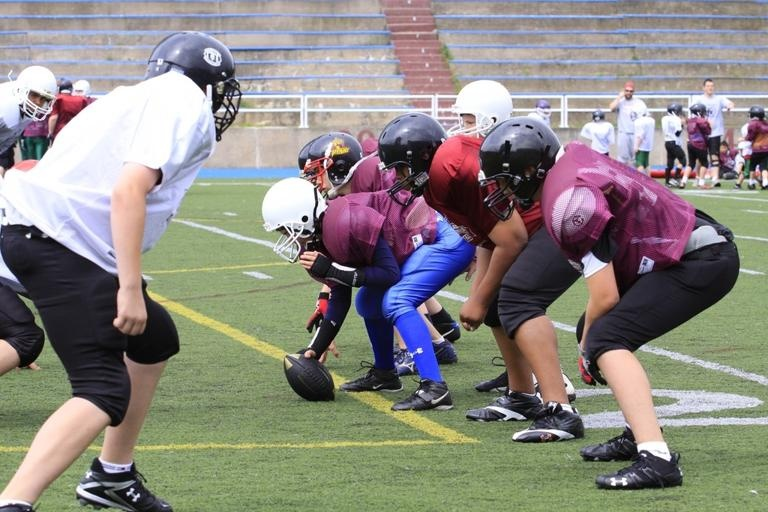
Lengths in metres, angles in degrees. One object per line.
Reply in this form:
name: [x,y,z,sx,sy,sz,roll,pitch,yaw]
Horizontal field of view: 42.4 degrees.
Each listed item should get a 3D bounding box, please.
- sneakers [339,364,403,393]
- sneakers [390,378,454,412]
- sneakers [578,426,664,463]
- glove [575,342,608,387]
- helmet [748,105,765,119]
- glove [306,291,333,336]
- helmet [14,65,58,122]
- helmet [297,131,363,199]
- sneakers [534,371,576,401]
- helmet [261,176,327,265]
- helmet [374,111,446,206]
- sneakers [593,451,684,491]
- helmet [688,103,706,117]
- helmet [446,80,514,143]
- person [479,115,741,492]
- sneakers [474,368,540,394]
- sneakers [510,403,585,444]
sneakers: [-0.071,0.805,6.407,0.440,0.154,0.147,1,-3,-2]
sneakers: [0.211,0.849,6.036,0.408,0.166,0.149,1,0,-4]
sneakers: [1.259,0.999,5.192,0.372,0.150,0.134,-1,5,0]
glove: [1.141,0.584,5.227,0.165,0.195,0.453,-6,-14,1]
helmet: [6.578,-2.547,17.508,0.263,0.263,0.327,-7,17,-34]
glove: [-0.450,0.410,6.885,0.108,0.298,0.311,22,-7,-10]
helmet: [-2.624,-1.268,7.690,0.388,0.442,0.473,4,2,-32]
helmet: [-0.340,-0.649,6.890,0.490,0.412,0.391,-4,5,-3]
sneakers: [1.051,0.822,6.112,0.156,0.186,0.439,-15,-29,11]
helmet: [-0.554,-0.220,6.126,0.307,0.508,0.395,8,15,35]
helmet: [0.131,-0.623,6.117,0.540,0.516,0.414,-16,4,-1]
sneakers: [1.232,1.072,4.940,0.479,0.196,0.172,0,-3,2]
helmet: [5.648,-2.624,17.758,0.256,0.228,0.358,3,12,14]
helmet: [0.549,-0.917,6.236,0.486,0.339,0.354,-6,16,-2]
person: [1.130,0.216,5.038,1.243,1.790,0.681,4,13,17]
sneakers: [0.786,0.805,6.338,0.475,0.181,0.142,0,-2,4]
sneakers: [0.940,0.938,5.583,0.491,0.196,0.166,1,-4,-9]
